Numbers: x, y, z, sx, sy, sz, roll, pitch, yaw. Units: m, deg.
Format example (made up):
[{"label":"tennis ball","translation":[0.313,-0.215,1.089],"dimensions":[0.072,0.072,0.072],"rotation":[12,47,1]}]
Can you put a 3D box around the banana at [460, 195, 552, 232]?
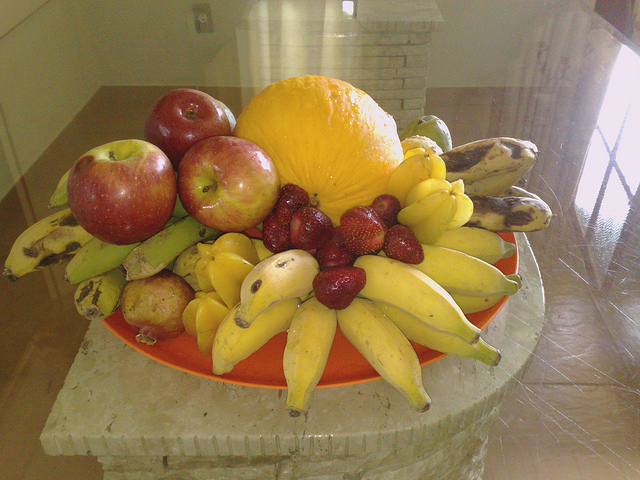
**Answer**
[{"label":"banana","translation":[0.467,-0.064,1.476],"dimensions":[0.260,0.087,0.087],"rotation":[3,2,2]}]

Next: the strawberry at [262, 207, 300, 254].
[{"label":"strawberry","translation":[-0.103,-0.021,1.404],"dimensions":[0.068,0.095,0.053],"rotation":[2,2,11]}]

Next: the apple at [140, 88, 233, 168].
[{"label":"apple","translation":[-0.342,-0.298,1.493],"dimensions":[0.198,0.207,0.208],"rotation":[1,8,-9]}]

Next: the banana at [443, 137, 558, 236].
[{"label":"banana","translation":[0.443,-0.142,1.461],"dimensions":[0.240,0.167,0.224],"rotation":[-3,38,-5]}]

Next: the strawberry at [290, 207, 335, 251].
[{"label":"strawberry","translation":[-0.021,-0.028,1.397],"dimensions":[0.094,0.107,0.095],"rotation":[-11,6,-4]}]

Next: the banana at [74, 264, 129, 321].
[{"label":"banana","translation":[-0.558,0.142,1.456],"dimensions":[0.113,0.097,0.159],"rotation":[1,25,0]}]

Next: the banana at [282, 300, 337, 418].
[{"label":"banana","translation":[-0.026,0.253,1.320],"dimensions":[0.083,0.096,0.301],"rotation":[18,69,-21]}]

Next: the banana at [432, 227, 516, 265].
[{"label":"banana","translation":[0.375,0.008,1.449],"dimensions":[0.241,0.092,0.082],"rotation":[10,7,3]}]

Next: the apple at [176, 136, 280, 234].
[{"label":"apple","translation":[-0.203,-0.144,1.489],"dimensions":[0.209,0.238,0.232],"rotation":[-17,10,22]}]

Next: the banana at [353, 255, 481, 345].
[{"label":"banana","translation":[0.211,0.125,1.333],"dimensions":[0.335,0.115,0.128],"rotation":[30,83,20]}]

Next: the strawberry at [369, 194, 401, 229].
[{"label":"strawberry","translation":[0.161,-0.077,1.388],"dimensions":[0.070,0.069,0.071],"rotation":[38,30,-6]}]

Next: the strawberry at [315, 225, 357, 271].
[{"label":"strawberry","translation":[0.033,0.031,1.415],"dimensions":[0.077,0.060,0.106],"rotation":[6,72,2]}]

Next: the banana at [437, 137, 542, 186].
[{"label":"banana","translation":[0.422,-0.205,1.460],"dimensions":[0.218,0.086,0.117],"rotation":[-9,77,-5]}]

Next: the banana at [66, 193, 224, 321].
[{"label":"banana","translation":[-0.412,0.039,1.395],"dimensions":[0.326,0.101,0.116],"rotation":[-35,31,1]}]

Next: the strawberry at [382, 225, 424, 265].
[{"label":"strawberry","translation":[0.191,0.014,1.380],"dimensions":[0.096,0.073,0.071],"rotation":[36,34,-4]}]

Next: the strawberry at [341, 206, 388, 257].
[{"label":"strawberry","translation":[0.103,-0.019,1.360],"dimensions":[0.106,0.109,0.084],"rotation":[-1,37,-1]}]

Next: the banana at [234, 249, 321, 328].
[{"label":"banana","translation":[-0.095,0.104,1.348],"dimensions":[0.208,0.075,0.111],"rotation":[-33,68,-34]}]

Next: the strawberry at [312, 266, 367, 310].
[{"label":"strawberry","translation":[0.046,0.094,1.327],"dimensions":[0.105,0.070,0.081],"rotation":[-14,24,-15]}]

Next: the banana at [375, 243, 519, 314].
[{"label":"banana","translation":[0.345,0.110,1.394],"dimensions":[0.105,0.123,0.334],"rotation":[-21,22,-35]}]

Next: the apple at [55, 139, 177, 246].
[{"label":"apple","translation":[-0.497,-0.120,1.442],"dimensions":[0.270,0.214,0.268],"rotation":[-1,18,6]}]

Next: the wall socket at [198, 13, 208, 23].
[{"label":"wall socket","translation":[-0.765,-1.460,3.794],"dimensions":[0.060,0.015,0.061],"rotation":[-1,78,0]}]

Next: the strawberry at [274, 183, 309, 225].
[{"label":"strawberry","translation":[-0.070,-0.093,1.406],"dimensions":[0.046,0.090,0.088],"rotation":[16,-5,26]}]
